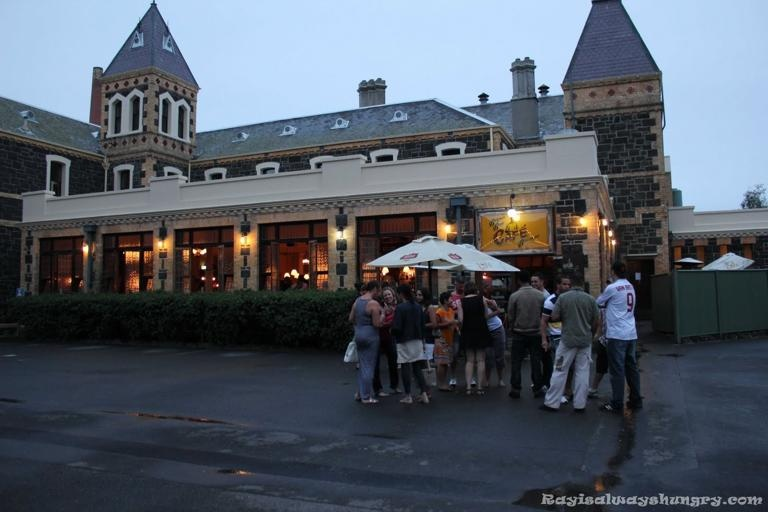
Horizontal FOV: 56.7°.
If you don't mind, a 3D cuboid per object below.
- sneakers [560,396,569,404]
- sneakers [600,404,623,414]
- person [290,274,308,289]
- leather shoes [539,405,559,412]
[{"bbox_3d":[4.239,3.371,16.669,0.276,0.107,0.354,2,7,14],"label":"sneakers"},{"bbox_3d":[5.104,3.412,15.923,0.179,0.218,0.474,2,1,-36],"label":"sneakers"},{"bbox_3d":[-3.409,1.010,28.909,0.731,0.523,0.474,1,9,15],"label":"person"},{"bbox_3d":[3.738,3.413,16.068,0.420,0.197,0.154,-1,-1,13],"label":"leather shoes"}]
